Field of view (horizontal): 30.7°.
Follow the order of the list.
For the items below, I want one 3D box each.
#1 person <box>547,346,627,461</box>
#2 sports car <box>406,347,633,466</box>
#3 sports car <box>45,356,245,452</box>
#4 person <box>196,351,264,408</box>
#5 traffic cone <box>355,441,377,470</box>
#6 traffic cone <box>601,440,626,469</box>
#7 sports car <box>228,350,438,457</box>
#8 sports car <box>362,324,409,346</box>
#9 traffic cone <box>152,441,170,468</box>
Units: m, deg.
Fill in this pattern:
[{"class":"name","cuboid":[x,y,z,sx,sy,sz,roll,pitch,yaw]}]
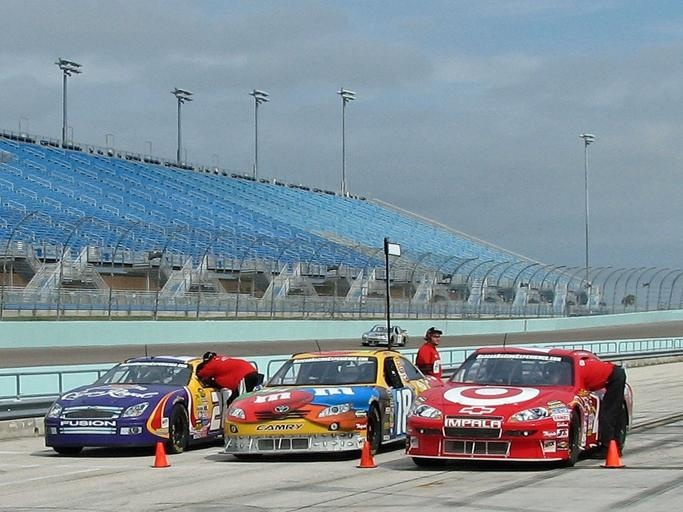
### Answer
[{"class":"person","cuboid":[4.263,2.589,21.879,1.195,1.892,1.184,-7,-6,40]},{"class":"sports car","cuboid":[2.976,2.570,21.114,3.810,1.941,1.684,0,-4,-8]},{"class":"sports car","cuboid":[-3.719,2.826,24.481,2.716,1.522,4.522,1,-2,21]},{"class":"person","cuboid":[-2.217,2.353,23.988,0.953,1.172,1.172,-5,-5,22]},{"class":"traffic cone","cuboid":[0.446,3.426,21.367,0.334,0.410,0.510,-1,-4,0]},{"class":"traffic cone","cuboid":[4.494,3.313,20.747,0.437,0.419,0.413,-1,-4,-2]},{"class":"sports car","cuboid":[-0.033,2.673,23.815,2.837,1.527,5.059,-2,-2,20]},{"class":"sports car","cuboid":[1.917,3.462,53.572,1.089,0.547,1.817,-2,-4,24]},{"class":"traffic cone","cuboid":[-3.129,3.508,21.721,0.418,0.382,0.389,0,-7,-4]}]
